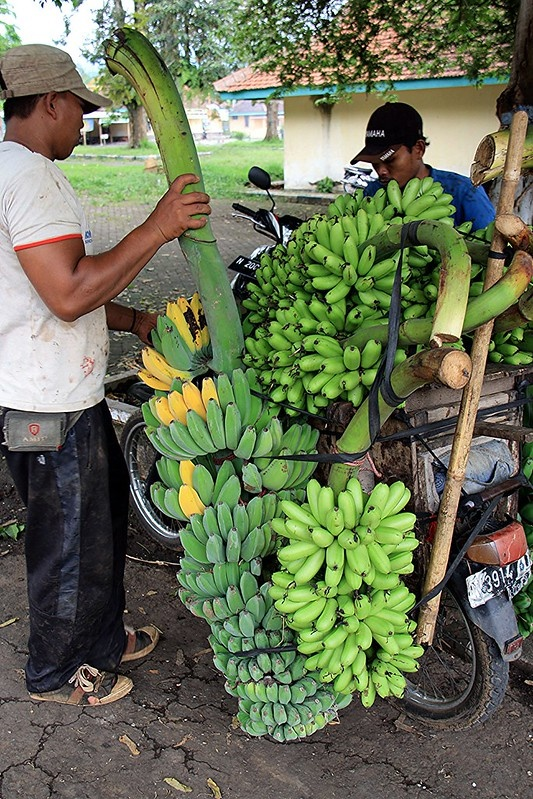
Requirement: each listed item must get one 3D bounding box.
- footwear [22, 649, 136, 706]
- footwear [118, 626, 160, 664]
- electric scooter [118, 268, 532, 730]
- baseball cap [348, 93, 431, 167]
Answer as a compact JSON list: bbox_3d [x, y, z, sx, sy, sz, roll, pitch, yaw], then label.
[{"bbox_3d":[-0.742,1.103,2.778,0.418,0.136,0.146,-3,10,0],"label":"footwear"},{"bbox_3d":[-0.531,1.034,2.996,0.085,0.076,0.199,3,23,35],"label":"footwear"},{"bbox_3d":[0.121,0.387,2.798,0.873,1.145,1.897,-9,30,-44],"label":"electric scooter"},{"bbox_3d":[0.618,-1.373,3.625,0.451,0.240,0.283,-34,36,-13],"label":"baseball cap"}]
